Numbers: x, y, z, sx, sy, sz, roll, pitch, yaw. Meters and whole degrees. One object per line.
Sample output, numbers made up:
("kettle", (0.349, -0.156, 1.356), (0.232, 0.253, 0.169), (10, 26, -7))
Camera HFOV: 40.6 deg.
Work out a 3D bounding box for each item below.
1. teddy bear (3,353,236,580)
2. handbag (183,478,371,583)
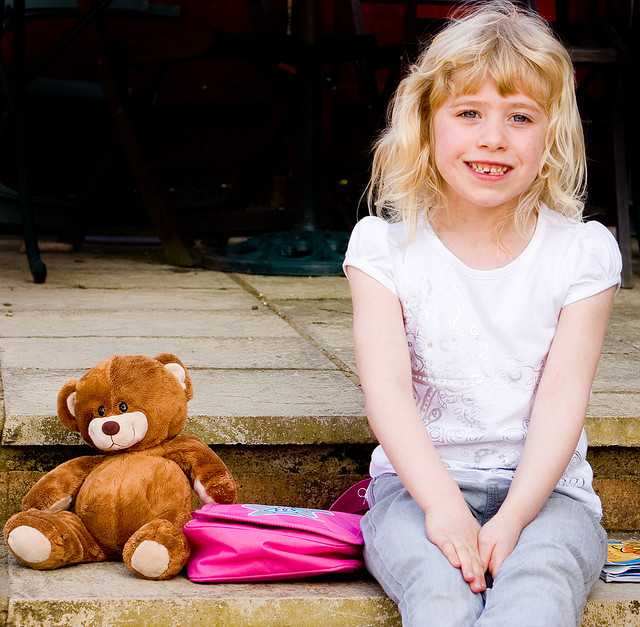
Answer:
("teddy bear", (-0.267, 0.250, 1.467), (0.519, 0.351, 0.359), (-2, -10, 13))
("handbag", (-0.065, 0.342, 1.337), (0.223, 0.054, 0.140), (0, 0, -9))
